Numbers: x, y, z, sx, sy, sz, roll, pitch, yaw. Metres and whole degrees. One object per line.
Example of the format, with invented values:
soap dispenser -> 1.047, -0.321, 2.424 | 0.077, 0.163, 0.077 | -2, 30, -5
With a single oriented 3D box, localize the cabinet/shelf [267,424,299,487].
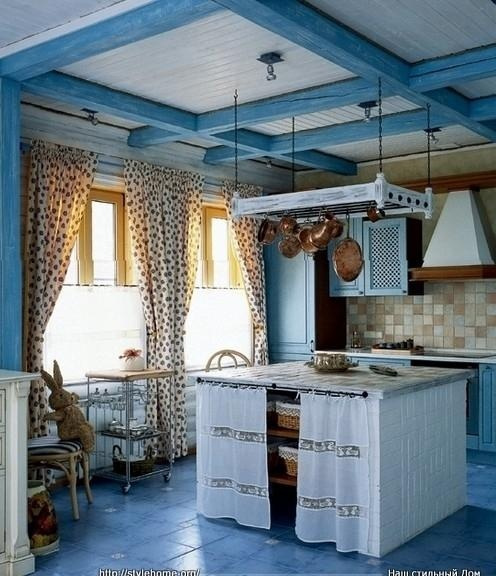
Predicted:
cabinet/shelf -> 0.217, 0.994, 3.183 | 0.302, 0.190, 0.431 | 0, 1, 11

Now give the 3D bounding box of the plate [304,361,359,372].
plate -> 0.559, 0.544, 3.522 | 0.315, 0.062, 0.365 | -1, -7, 3

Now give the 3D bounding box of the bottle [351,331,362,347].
bottle -> 1.185, 0.571, 5.700 | 0.106, 0.209, 0.232 | -2, -7, 12

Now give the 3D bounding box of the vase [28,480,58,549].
vase -> -1.053, 1.196, 2.673 | 0.093, 0.323, 0.210 | -4, -8, 25

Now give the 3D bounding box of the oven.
oven -> 1.770, 1.106, 4.773 | 0.587, 0.540, 0.407 | -11, -23, 15

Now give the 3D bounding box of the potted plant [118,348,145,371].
potted plant -> -0.928, 0.565, 4.115 | 0.177, 0.148, 0.174 | 2, 0, -33
